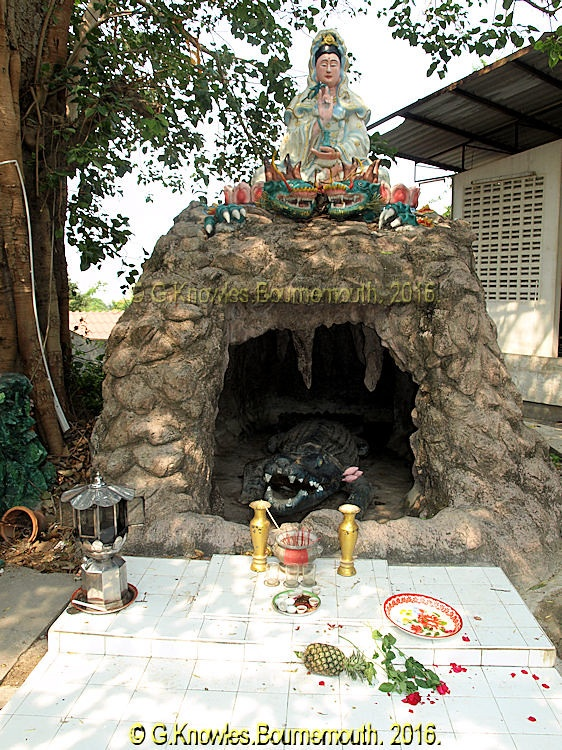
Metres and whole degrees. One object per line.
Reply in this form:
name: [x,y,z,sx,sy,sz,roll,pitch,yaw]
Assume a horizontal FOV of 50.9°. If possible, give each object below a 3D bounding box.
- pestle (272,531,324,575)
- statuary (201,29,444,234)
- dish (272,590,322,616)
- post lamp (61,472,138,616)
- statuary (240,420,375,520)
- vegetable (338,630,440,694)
pestle: [0.088,1.058,3.632,0.315,0.189,0.266,0,-7,1]
statuary: [0.433,-2.465,6.049,2.163,2.034,0.714,-3,7,-5]
dish: [0.073,1.286,3.349,0.245,0.060,0.233,-8,8,-44]
post lamp: [-1.010,0.939,3.320,0.387,0.759,0.313,-5,7,-20]
statuary: [0.283,1.129,7.090,1.465,0.816,2.258,-2,6,2]
vegetable: [0.534,1.437,2.907,0.231,0.084,0.333,-16,28,-41]
